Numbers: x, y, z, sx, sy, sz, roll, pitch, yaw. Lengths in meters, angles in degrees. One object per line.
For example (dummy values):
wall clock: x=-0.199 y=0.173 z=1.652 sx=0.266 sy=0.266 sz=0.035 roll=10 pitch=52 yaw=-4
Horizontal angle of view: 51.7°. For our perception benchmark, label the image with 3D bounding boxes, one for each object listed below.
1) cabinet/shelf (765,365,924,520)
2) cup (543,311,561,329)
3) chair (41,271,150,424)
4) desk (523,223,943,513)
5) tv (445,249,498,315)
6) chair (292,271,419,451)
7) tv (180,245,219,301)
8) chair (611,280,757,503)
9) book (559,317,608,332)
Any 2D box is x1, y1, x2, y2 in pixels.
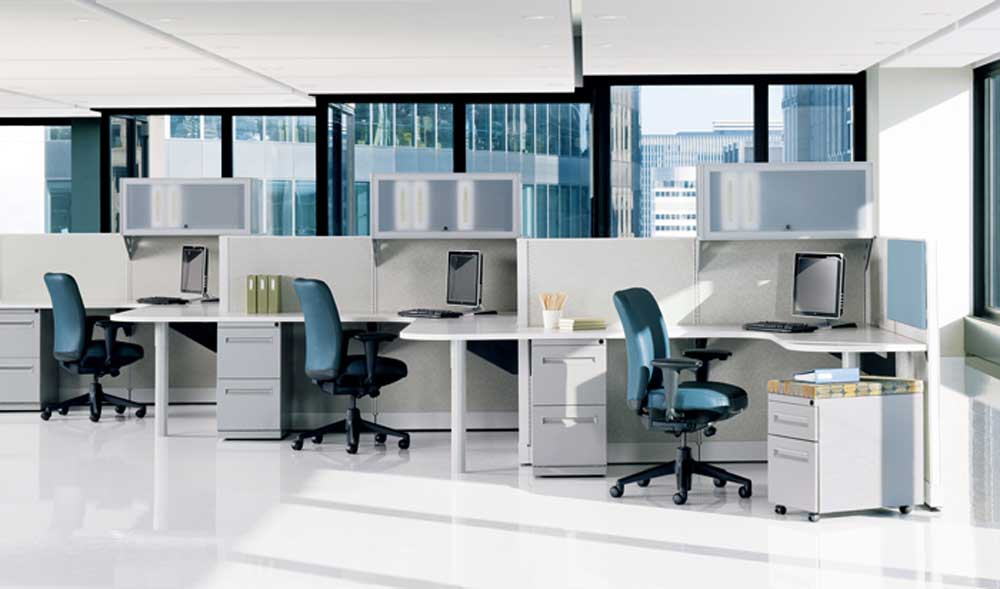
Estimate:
cabinet/shelf: x=3.239 y=1.428 z=9.307 sx=1.487 sy=1.155 sz=0.937 roll=1 pitch=-5 yaw=-14
cup: x=0.495 y=0.251 z=9.857 sx=0.171 sy=0.137 sz=0.178 roll=0 pitch=-5 yaw=0
chair: x=-4.599 y=0.583 z=11.556 sx=1.101 sy=1.645 sz=0.844 roll=-3 pitch=5 yaw=-18
desk: x=2.371 y=0.749 z=10.280 sx=3.785 sy=1.639 sz=2.053 roll=-5 pitch=-31 yaw=19
tv: x=-0.317 y=-0.121 z=10.801 sx=0.508 sy=0.646 sz=0.350 roll=3 pitch=7 yaw=42
chair: x=-1.564 y=0.709 z=10.444 sx=1.133 sy=1.756 sz=0.790 roll=-3 pitch=5 yaw=-12
tv: x=-3.511 y=-0.236 z=11.752 sx=0.423 sy=0.609 sz=0.228 roll=1 pitch=6 yaw=21
chair: x=1.587 y=0.893 z=9.269 sx=1.241 sy=1.882 sz=0.831 roll=-2 pitch=5 yaw=-6
book: x=0.784 y=0.289 z=9.736 sx=0.442 sy=0.110 sz=0.131 roll=-1 pitch=5 yaw=4
